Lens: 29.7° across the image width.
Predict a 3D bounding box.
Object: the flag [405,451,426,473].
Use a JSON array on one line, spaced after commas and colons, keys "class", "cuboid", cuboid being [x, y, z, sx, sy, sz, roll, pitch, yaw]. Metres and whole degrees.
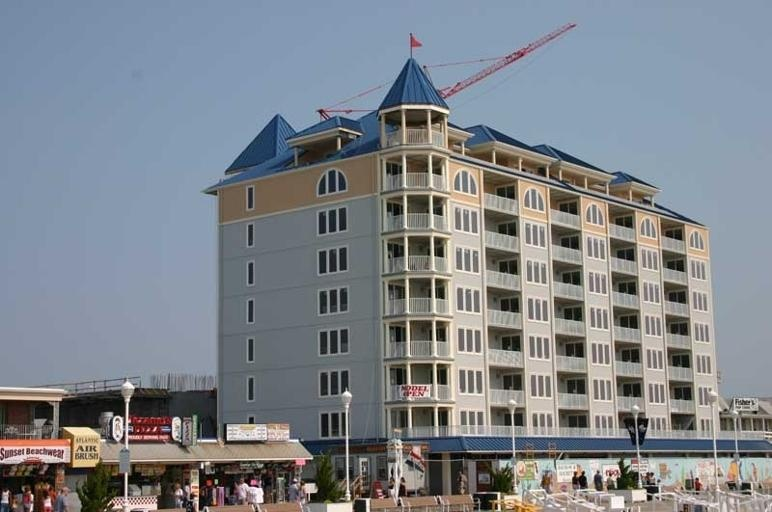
[{"class": "flag", "cuboid": [2.425, 17.949, 126.587, 1.807, 1.785, 0.298, 15, -1, 4]}]
